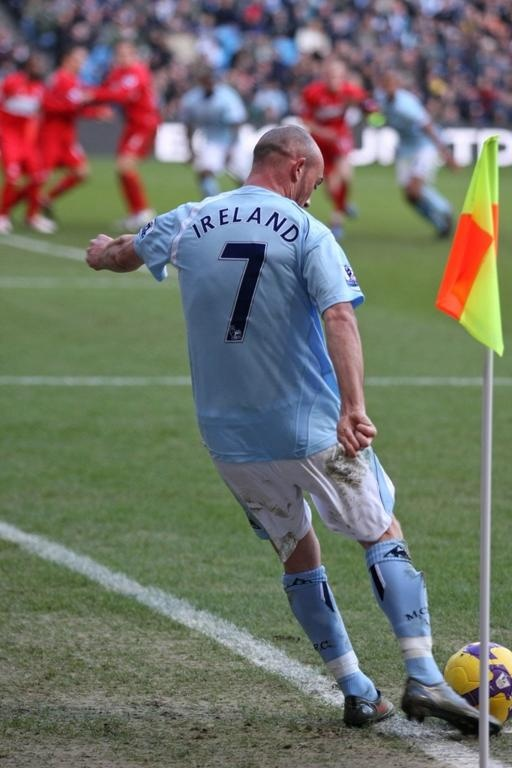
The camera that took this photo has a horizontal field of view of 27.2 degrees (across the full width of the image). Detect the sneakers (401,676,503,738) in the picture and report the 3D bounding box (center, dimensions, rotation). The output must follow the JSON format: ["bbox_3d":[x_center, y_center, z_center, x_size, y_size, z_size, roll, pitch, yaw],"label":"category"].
[{"bbox_3d":[0.400,0.709,2.339,0.236,0.075,0.108,25,49,4],"label":"sneakers"}]

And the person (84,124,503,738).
[{"bbox_3d":[0.125,0.119,2.534,0.361,1.438,1.074,-13,21,-43],"label":"person"}]

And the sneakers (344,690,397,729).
[{"bbox_3d":[0.281,0.799,2.591,0.056,0.055,0.150,1,1,40],"label":"sneakers"}]

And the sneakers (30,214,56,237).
[{"bbox_3d":[-2.367,-1.772,11.732,0.290,0.202,0.671,0,13,-10],"label":"sneakers"}]
